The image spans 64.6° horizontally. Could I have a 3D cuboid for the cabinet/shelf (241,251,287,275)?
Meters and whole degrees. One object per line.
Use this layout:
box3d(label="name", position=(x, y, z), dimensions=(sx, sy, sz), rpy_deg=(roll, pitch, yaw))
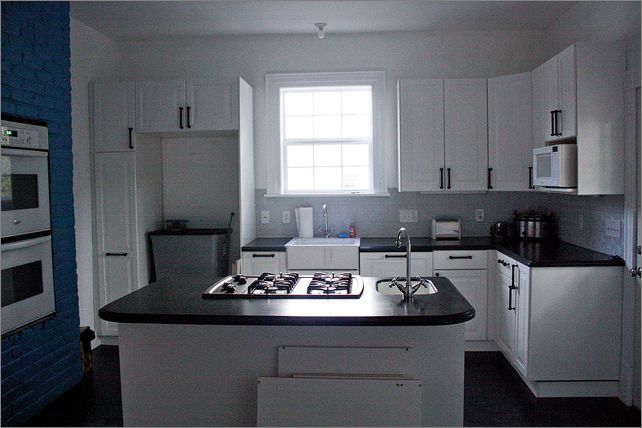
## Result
box3d(label="cabinet/shelf", position=(-0.622, 0.524, 5.435), dimensions=(0.432, 0.351, 0.278), rpy_deg=(0, -5, 2))

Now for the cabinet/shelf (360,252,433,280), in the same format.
box3d(label="cabinet/shelf", position=(0.787, 0.529, 5.339), dimensions=(0.549, 0.443, 0.325), rpy_deg=(0, -4, 2))

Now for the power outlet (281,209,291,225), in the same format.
box3d(label="power outlet", position=(-0.413, 0.035, 5.922), dimensions=(0.112, 0.154, 0.026), rpy_deg=(-1, 13, 0))

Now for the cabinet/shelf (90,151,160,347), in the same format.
box3d(label="cabinet/shelf", position=(-2.186, 0.156, 5.575), dimensions=(0.549, 1.685, 0.457), rpy_deg=(-1, 13, 2))

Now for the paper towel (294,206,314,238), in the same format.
box3d(label="paper towel", position=(-0.191, 0.100, 5.866), dimensions=(0.205, 0.348, 0.150), rpy_deg=(-1, 13, -1))

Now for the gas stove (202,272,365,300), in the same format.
box3d(label="gas stove", position=(-0.280, 0.566, 4.080), dimensions=(1.250, 0.067, 0.495), rpy_deg=(-1, 11, 2))

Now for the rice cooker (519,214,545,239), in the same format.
box3d(label="rice cooker", position=(2.236, 0.143, 5.443), dimensions=(0.266, 0.220, 0.249), rpy_deg=(0, -2, -7))

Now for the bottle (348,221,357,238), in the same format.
box3d(label="bottle", position=(0.366, 0.185, 5.861), dimensions=(0.087, 0.162, 0.101), rpy_deg=(0, 13, 5))

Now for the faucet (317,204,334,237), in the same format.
box3d(label="faucet", position=(0.049, 0.090, 5.887), dimensions=(0.147, 0.371, 0.118), rpy_deg=(10, 17, 41))

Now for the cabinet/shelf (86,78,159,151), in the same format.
box3d(label="cabinet/shelf", position=(-2.166, -1.031, 5.506), dimensions=(0.750, 0.987, 0.704), rpy_deg=(0, -2, -6))

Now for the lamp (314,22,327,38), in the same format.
box3d(label="lamp", position=(0.008, -2.027, 5.592), dimensions=(0.137, 0.134, 0.127), rpy_deg=(2, 17, 7))

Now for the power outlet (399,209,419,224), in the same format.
box3d(label="power outlet", position=(1.010, 0.016, 5.847), dimensions=(0.173, 0.106, 0.023), rpy_deg=(0, -5, 0))

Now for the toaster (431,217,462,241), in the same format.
box3d(label="toaster", position=(1.411, 0.146, 5.753), dimensions=(0.334, 0.213, 0.223), rpy_deg=(0, 2, 8))

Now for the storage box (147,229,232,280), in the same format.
box3d(label="storage box", position=(-1.409, 0.436, 5.715), dimensions=(0.936, 0.784, 0.556), rpy_deg=(-1, -1, 1))

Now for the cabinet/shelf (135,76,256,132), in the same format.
box3d(label="cabinet/shelf", position=(-1.394, -1.169, 5.424), dimensions=(1.194, 0.517, 0.609), rpy_deg=(0, -2, 2))

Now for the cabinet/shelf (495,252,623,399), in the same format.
box3d(label="cabinet/shelf", position=(2.519, 1.133, 5.258), dimensions=(1.156, 1.399, 1.807), rpy_deg=(-1, -1, 11))

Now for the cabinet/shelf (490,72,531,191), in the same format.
box3d(label="cabinet/shelf", position=(2.010, -0.877, 5.421), dimensions=(0.463, 1.221, 0.260), rpy_deg=(2, 13, 15))
